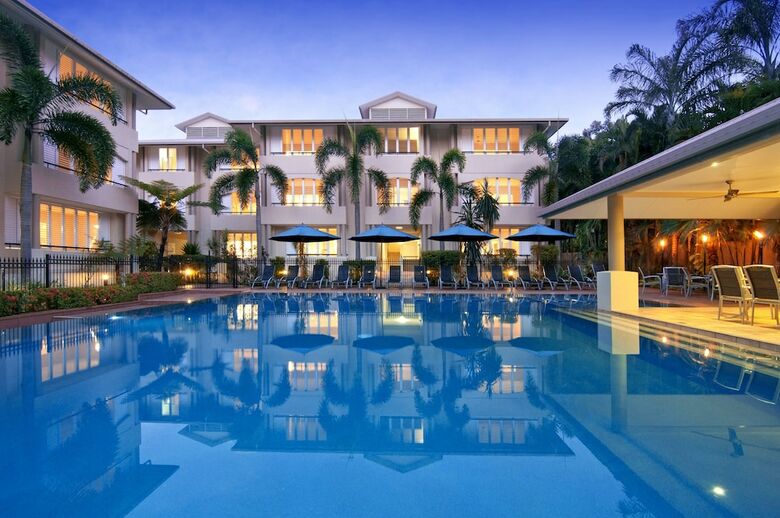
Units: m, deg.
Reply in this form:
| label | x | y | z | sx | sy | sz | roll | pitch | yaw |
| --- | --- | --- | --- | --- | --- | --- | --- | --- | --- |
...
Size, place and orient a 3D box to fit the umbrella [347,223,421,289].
| label | x | y | z | sx | sy | sz | roll | pitch | yaw |
| --- | --- | --- | --- | --- | --- | --- | --- | --- | --- |
| umbrella | -0.402 | -0.831 | 31.324 | 3.051 | 2.437 | 3.174 | 1 | -16 | -1 |

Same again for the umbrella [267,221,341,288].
| label | x | y | z | sx | sy | sz | roll | pitch | yaw |
| --- | --- | --- | --- | --- | --- | --- | --- | --- | --- |
| umbrella | -4.896 | -0.331 | 33.942 | 2.448 | 3.157 | 4.965 | -1 | 4 | -9 |
